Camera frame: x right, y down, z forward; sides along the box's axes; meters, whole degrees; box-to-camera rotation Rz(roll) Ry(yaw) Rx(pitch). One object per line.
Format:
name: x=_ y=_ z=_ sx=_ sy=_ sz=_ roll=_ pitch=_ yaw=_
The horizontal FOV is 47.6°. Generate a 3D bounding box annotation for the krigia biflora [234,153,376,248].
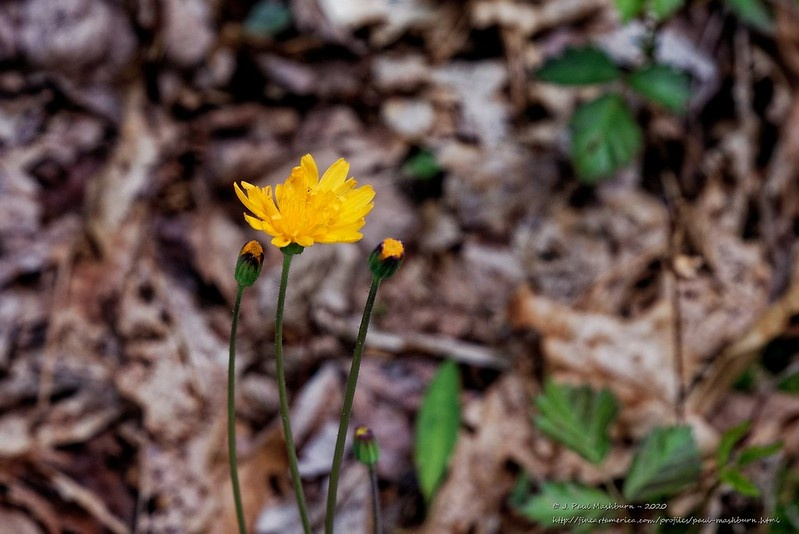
krigia biflora: x=-0.357 y=-0.232 z=3.511 sx=0.555 sy=0.585 sz=0.245 roll=-4 pitch=75 yaw=41
